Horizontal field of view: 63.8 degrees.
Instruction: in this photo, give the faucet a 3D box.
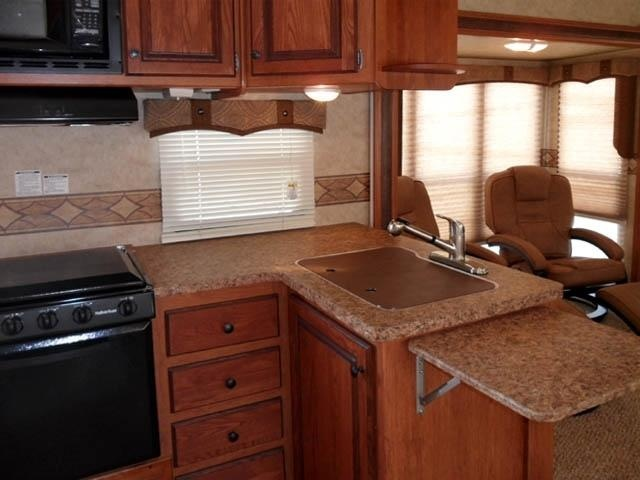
[{"bbox_3d":[0.516,0.010,2.214,0.566,0.257,0.167,8,10,21],"label":"faucet"}]
